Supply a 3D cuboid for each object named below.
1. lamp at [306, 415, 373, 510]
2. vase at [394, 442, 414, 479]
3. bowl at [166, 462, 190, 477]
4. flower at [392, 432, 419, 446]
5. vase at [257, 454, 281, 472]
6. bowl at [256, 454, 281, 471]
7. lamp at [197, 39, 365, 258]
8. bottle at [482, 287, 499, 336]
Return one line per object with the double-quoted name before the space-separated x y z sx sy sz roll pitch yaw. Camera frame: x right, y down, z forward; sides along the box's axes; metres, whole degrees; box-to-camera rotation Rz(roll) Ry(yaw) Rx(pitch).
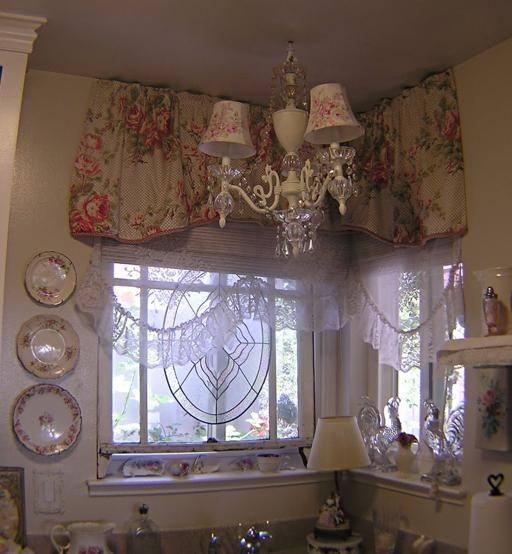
"lamp" 0.406 0.955 2.815 0.292 0.551 0.284 -1 -6 -13
"vase" 0.736 0.902 2.867 0.102 0.156 0.135 -3 -7 14
"bowl" -0.374 0.961 2.868 0.115 0.063 0.089 1 -7 -21
"flower" 0.733 0.780 2.819 0.083 0.083 0.073 8 -7 -35
"vase" 0.072 0.973 3.017 0.097 0.060 0.081 -11 -21 32
"bowl" 0.075 0.973 3.023 0.098 0.060 0.080 -14 -23 38
"lamp" 0.135 -0.456 1.966 0.501 0.763 0.534 -3 -6 17
"bottle" 0.860 0.127 2.141 0.051 0.179 0.118 -1 -6 1
